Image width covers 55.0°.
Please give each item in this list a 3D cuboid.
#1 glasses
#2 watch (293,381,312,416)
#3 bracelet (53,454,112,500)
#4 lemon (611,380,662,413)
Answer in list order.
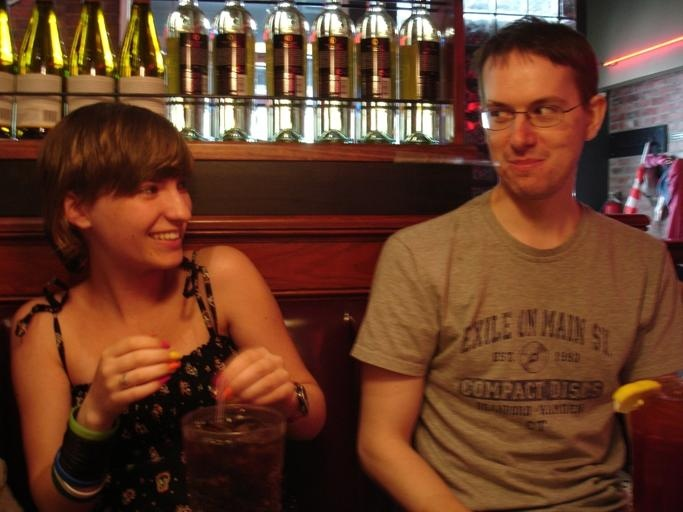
[{"bbox_3d":[0.406,-0.297,1.393,0.209,0.064,0.049,3,8,11],"label":"glasses"},{"bbox_3d":[-0.087,0.306,1.397,0.048,0.062,0.025,6,-24,-32],"label":"watch"},{"bbox_3d":[-0.522,0.449,1.346,0.109,0.050,0.090,2,0,10],"label":"bracelet"},{"bbox_3d":[0.504,0.240,1.129,0.075,0.044,0.020,-22,-31,29],"label":"lemon"}]
